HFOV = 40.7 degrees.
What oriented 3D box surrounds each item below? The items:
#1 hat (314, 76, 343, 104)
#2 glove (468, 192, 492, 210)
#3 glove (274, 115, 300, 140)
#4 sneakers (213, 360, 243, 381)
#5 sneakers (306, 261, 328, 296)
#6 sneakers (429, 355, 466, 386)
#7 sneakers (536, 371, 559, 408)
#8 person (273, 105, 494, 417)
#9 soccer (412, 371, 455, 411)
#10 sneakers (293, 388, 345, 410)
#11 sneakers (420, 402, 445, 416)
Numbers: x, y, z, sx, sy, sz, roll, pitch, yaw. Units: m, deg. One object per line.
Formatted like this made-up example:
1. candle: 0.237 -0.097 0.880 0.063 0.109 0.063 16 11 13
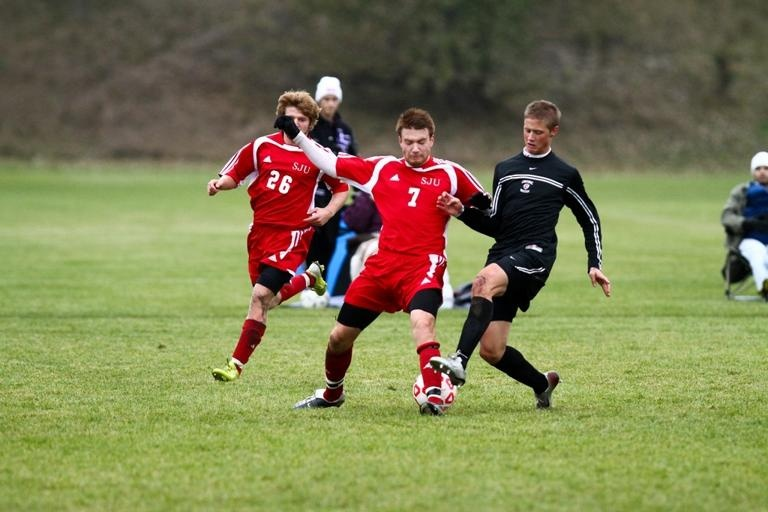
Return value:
1. hat: -0.664 -2.034 12.505 0.364 0.339 0.378 4 1 -2
2. glove: 0.828 -0.481 8.897 0.169 0.071 0.129 -6 -45 27
3. glove: -0.843 -1.169 9.220 0.180 0.236 0.095 -31 16 27
4. sneakers: -1.398 1.042 9.317 0.265 0.175 0.165 22 -20 -25
5. sneakers: -0.672 0.250 10.438 0.180 0.135 0.399 -25 -42 -7
6. sneakers: 0.516 0.939 8.542 0.241 0.079 0.199 34 38 5
7. sneakers: 1.415 1.179 9.102 0.175 0.362 0.133 14 -9 -26
8. person: 0.089 0.032 8.934 1.570 2.557 0.975 3 15 10
9. soccer: 0.461 1.156 8.936 0.335 0.310 0.382 -7 -5 15
10. sneakers: -0.575 1.273 9.116 0.455 0.169 0.155 1 -6 -7
11. sneakers: 0.402 1.308 8.796 0.170 0.060 0.103 33 -44 -13
